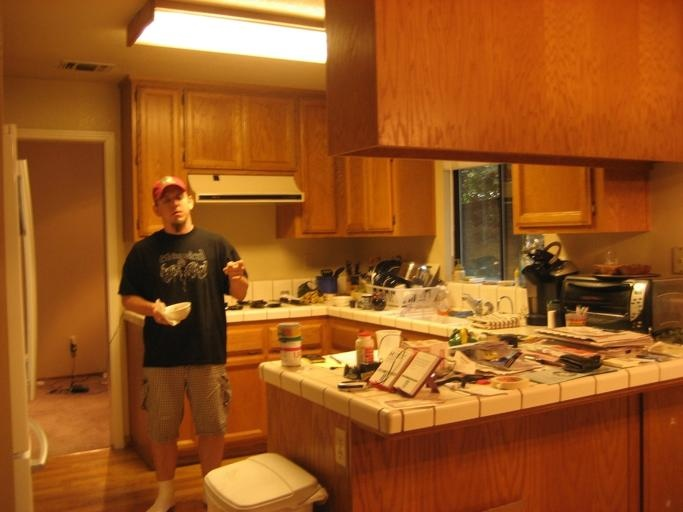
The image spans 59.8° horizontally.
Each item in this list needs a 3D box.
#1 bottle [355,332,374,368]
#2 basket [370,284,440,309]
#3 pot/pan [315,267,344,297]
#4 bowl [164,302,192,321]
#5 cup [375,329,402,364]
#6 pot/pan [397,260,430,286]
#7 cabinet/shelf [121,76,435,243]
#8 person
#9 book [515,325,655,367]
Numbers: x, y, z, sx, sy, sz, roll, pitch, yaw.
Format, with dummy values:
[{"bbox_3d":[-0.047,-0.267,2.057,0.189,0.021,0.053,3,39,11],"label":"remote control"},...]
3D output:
[{"bbox_3d":[0.098,0.379,2.437,0.066,0.123,0.102,-2,6,-5],"label":"bottle"},{"bbox_3d":[0.467,0.309,4.349,0.523,0.175,0.293,0,6,15],"label":"basket"},{"bbox_3d":[-0.094,0.216,5.201,0.255,0.201,0.202,1,-4,0],"label":"pot/pan"},{"bbox_3d":[-0.875,0.298,3.226,0.115,0.064,0.110,-4,-2,0],"label":"bowl"},{"bbox_3d":[0.195,0.376,2.425,0.120,0.113,0.118,0,-6,0],"label":"cup"},{"bbox_3d":[0.549,0.141,4.499,0.216,0.150,0.303,-2,5,0],"label":"pot/pan"},{"bbox_3d":[-0.520,-0.689,4.118,1.468,0.648,0.707,0,-1,-26],"label":"cabinet/shelf"},{"bbox_3d":[-0.882,0.540,3.470,0.719,1.994,0.479,-4,6,-19],"label":"person"},{"bbox_3d":[1.024,0.384,2.664,0.543,0.085,0.493,-5,6,-36],"label":"book"}]
